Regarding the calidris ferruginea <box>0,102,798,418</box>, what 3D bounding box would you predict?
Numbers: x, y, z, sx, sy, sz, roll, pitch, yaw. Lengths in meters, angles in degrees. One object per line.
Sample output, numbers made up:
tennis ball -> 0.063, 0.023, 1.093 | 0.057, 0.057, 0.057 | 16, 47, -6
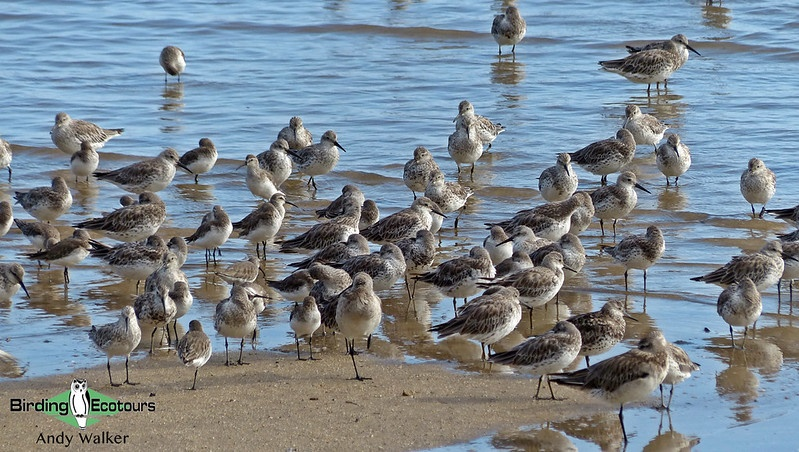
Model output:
calidris ferruginea -> 0.723, 0.674, 20.959 | 17.534, 3.453, 11.021 | 0, 9, 0

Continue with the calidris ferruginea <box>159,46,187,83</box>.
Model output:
calidris ferruginea -> -8.190, -5.837, 32.232 | 0.791, 1.294, 1.038 | -3, 11, -14
